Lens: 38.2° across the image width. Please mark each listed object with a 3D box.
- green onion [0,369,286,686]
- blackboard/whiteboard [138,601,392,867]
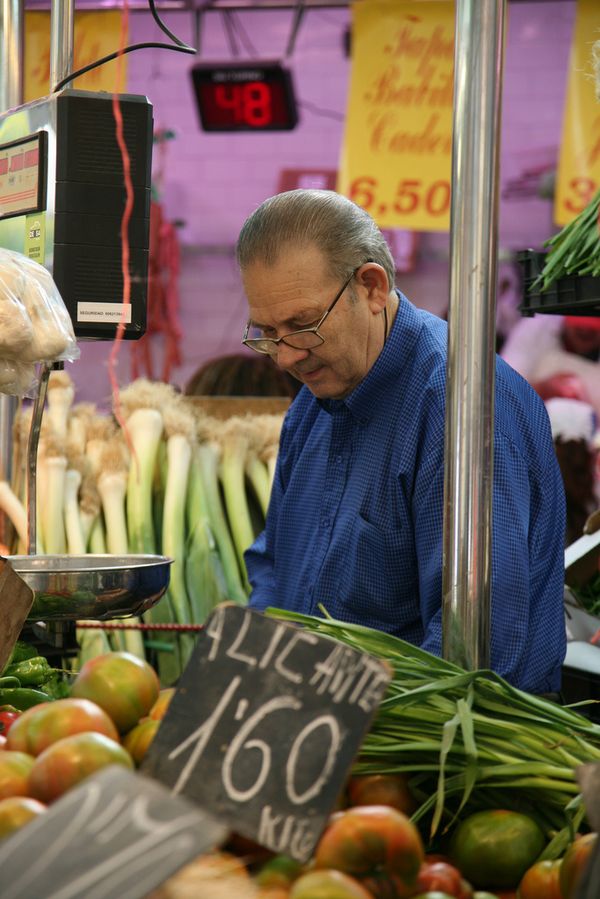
[{"bbox_3d":[-0.554,0.191,2.993,0.931,1.132,0.418,3,-8,-1],"label":"green onion"},{"bbox_3d":[-0.033,0.308,0.926,0.227,0.227,0.031,24,-13,24],"label":"blackboard/whiteboard"}]
